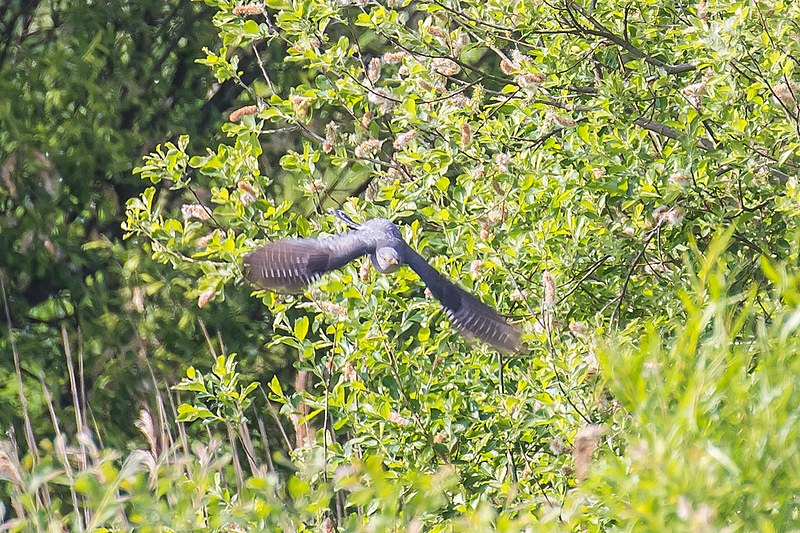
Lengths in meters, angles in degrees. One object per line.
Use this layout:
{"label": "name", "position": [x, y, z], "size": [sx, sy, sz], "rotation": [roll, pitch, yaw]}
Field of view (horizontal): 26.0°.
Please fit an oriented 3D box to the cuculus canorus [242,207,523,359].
{"label": "cuculus canorus", "position": [-0.068, 0.064, 7.418], "size": [1.196, 0.522, 0.232], "rotation": [2, 10, -2]}
